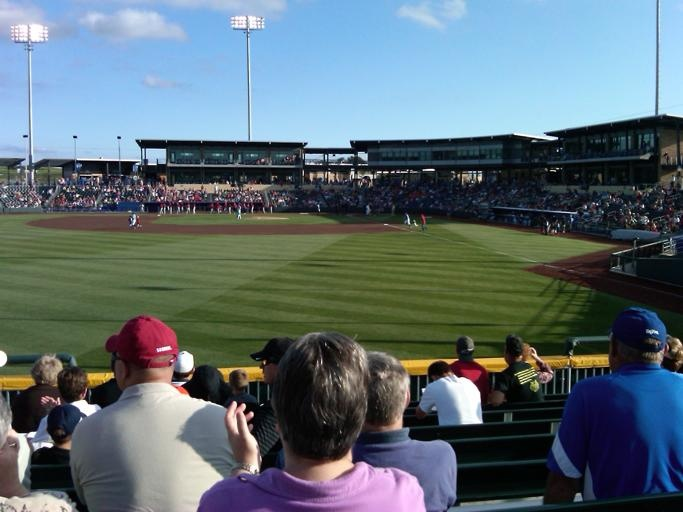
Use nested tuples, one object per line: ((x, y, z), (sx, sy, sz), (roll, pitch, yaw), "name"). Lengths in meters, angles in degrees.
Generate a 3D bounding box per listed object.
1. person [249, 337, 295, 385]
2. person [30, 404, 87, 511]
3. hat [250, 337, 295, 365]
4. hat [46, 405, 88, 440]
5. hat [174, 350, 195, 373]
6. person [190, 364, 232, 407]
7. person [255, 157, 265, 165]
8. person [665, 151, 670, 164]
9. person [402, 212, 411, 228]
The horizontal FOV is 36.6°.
((-0.985, 1.446, 14.425), (0.806, 0.462, 0.573), (14, 13, 16), "person")
((-3.862, 2.681, 13.985), (0.971, 0.563, 1.301), (1, 8, -17), "person")
((-0.994, 1.350, 14.490), (0.594, 0.285, 0.384), (2, 3, 3), "hat")
((-3.913, 2.328, 14.386), (0.457, 0.326, 0.617), (2, 16, -10), "hat")
((-2.610, 1.748, 16.937), (0.346, 0.244, 0.520), (-2, 19, -26), "hat")
((-2.138, 1.875, 16.182), (0.680, 0.401, 0.839), (8, 28, -2), "person")
((-7.687, -8.663, 95.377), (0.737, 0.630, 0.166), (-2, -4, -5), "person")
((18.512, -5.515, 58.543), (0.220, 0.687, 1.025), (0, 3, 17), "person")
((3.846, -2.086, 62.006), (0.535, 0.599, 1.542), (-11, 3, 3), "person")
